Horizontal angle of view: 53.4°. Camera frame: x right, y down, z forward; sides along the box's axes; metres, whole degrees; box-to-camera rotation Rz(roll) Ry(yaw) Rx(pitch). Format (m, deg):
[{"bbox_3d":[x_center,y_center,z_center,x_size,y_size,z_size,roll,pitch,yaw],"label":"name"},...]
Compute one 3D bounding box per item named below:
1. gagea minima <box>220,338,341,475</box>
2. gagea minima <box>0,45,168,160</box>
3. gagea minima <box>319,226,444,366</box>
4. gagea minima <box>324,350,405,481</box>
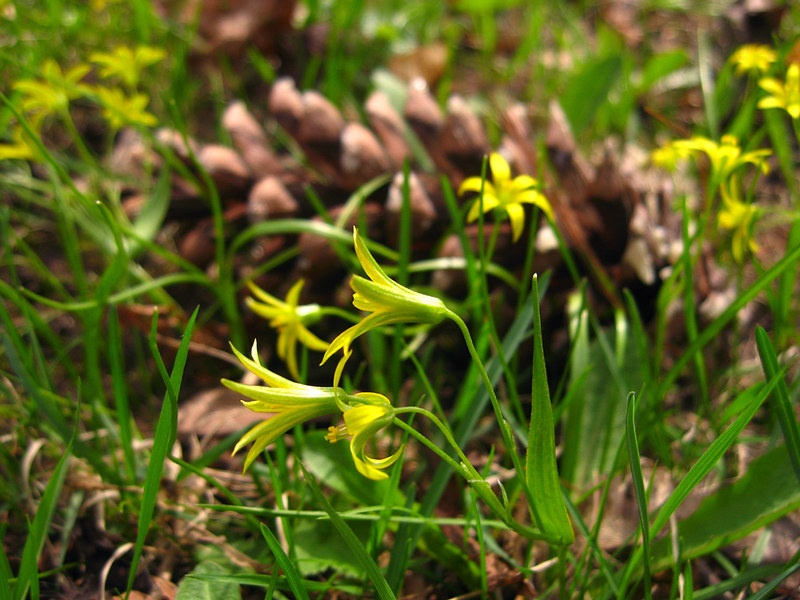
[{"bbox_3d":[-0.159,0.146,1.323,0.229,0.192,0.144,4,24,30],"label":"gagea minima"},{"bbox_3d":[-0.693,-0.523,1.807,0.283,0.131,0.367,12,64,3],"label":"gagea minima"},{"bbox_3d":[0.017,0.012,1.322,0.235,0.228,0.212,10,3,14],"label":"gagea minima"},{"bbox_3d":[-0.062,0.200,1.320,0.101,0.192,0.229,-10,84,-14],"label":"gagea minima"}]
